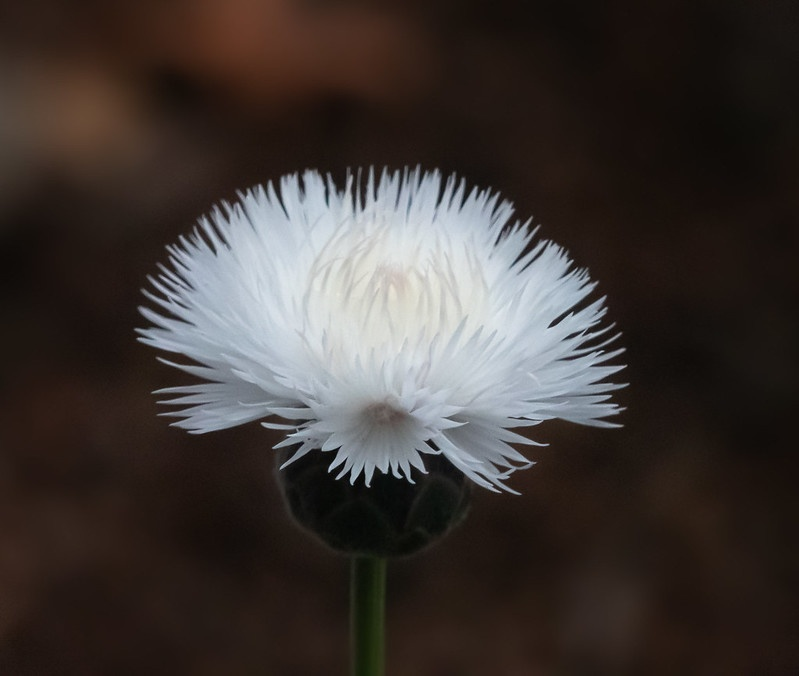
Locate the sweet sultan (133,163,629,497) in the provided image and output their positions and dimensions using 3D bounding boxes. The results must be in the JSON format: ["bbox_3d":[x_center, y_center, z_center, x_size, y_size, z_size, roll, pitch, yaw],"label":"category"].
[{"bbox_3d":[-0.036,-0.022,1.180,0.505,0.485,0.238,-5,108,-30],"label":"sweet sultan"}]
